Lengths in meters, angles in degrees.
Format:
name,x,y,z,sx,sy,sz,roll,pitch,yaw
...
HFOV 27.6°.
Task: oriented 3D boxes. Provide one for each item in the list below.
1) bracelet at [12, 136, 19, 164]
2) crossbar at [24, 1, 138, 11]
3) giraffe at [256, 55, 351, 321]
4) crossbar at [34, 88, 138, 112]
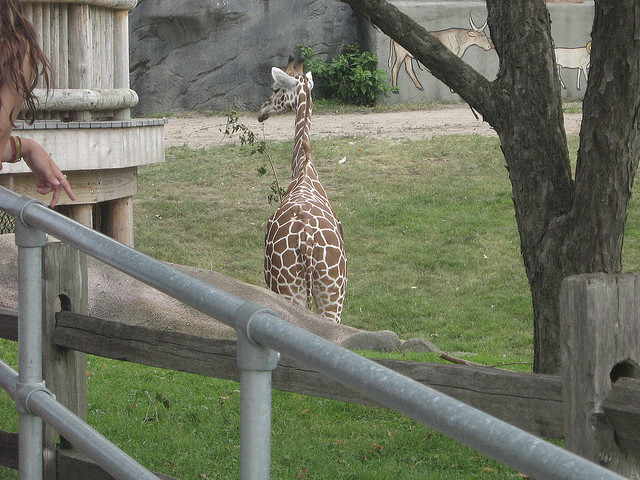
name,x,y,z,sx,sy,sz,roll,pitch,yaw
bracelet,-1.854,-0.542,7.907,0.033,0.150,0.122,0,8,-13
crossbar,-2.203,-2.249,12.532,0.397,0.095,1.309,6,10,25
giraffe,-0.152,-0.513,12.781,0.960,2.474,2.474,1,8,-2
crossbar,-2.226,-1.352,12.668,0.264,0.210,1.125,6,10,29
